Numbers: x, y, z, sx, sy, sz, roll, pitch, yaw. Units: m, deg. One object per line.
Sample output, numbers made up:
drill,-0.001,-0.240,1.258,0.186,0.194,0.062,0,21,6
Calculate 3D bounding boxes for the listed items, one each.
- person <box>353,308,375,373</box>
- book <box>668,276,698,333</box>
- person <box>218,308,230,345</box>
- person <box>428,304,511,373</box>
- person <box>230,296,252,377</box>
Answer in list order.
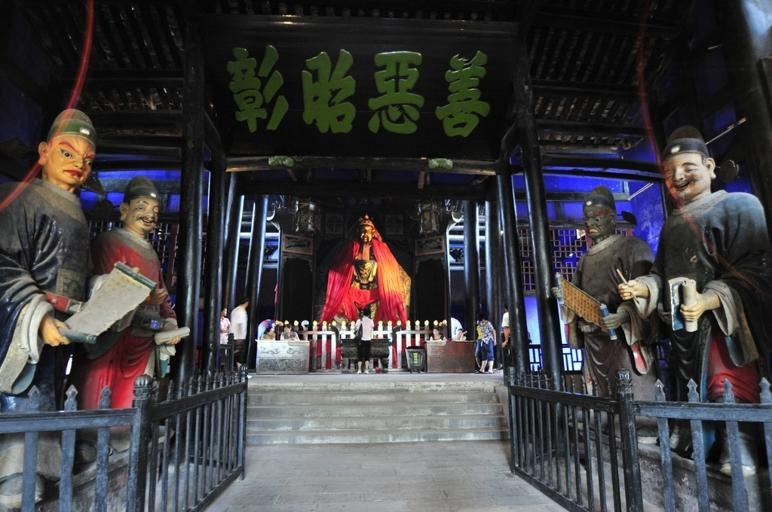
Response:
person,-0.430,1.749,9.704,0.311,0.774,0.863,1,1,-4
book,2.417,0.405,4.044,0.198,0.456,0.241,2,1,38
person,-3.081,1.319,9.555,0.153,0.598,0.791,1,1,-15
person,1.587,1.870,10.050,1.876,1.263,1.066,0,-6,1
person,-2.937,1.492,9.850,0.358,1.236,1.016,1,1,-14
